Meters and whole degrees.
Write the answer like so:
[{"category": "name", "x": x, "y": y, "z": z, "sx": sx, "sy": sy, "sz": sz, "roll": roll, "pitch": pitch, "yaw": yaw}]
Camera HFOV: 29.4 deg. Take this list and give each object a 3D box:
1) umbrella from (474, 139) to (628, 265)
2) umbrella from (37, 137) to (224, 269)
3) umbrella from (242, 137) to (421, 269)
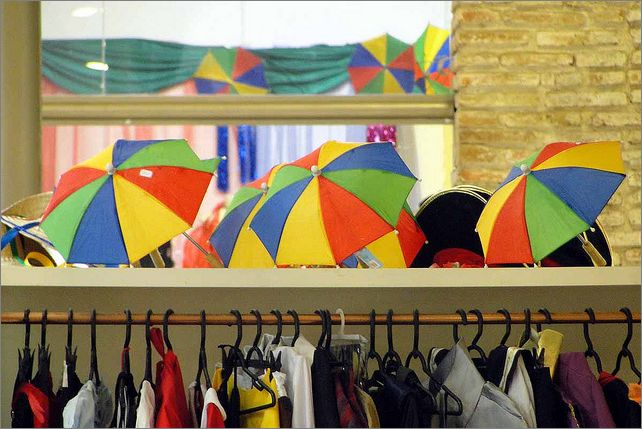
[{"category": "umbrella", "x": 0.900, "y": -0.037, "z": 4.899, "sx": 0.205, "sy": 0.522, "sz": 0.481, "roll": 31, "pitch": -3, "yaw": -41}, {"category": "umbrella", "x": -0.771, "y": -0.054, "z": 4.792, "sx": 0.659, "sy": 0.490, "sz": 0.156, "roll": 0, "pitch": -3, "yaw": 4}, {"category": "umbrella", "x": 0.047, "y": -0.049, "z": 4.847, "sx": 0.663, "sy": 0.498, "sz": 0.154, "roll": 0, "pitch": -3, "yaw": -3}]
